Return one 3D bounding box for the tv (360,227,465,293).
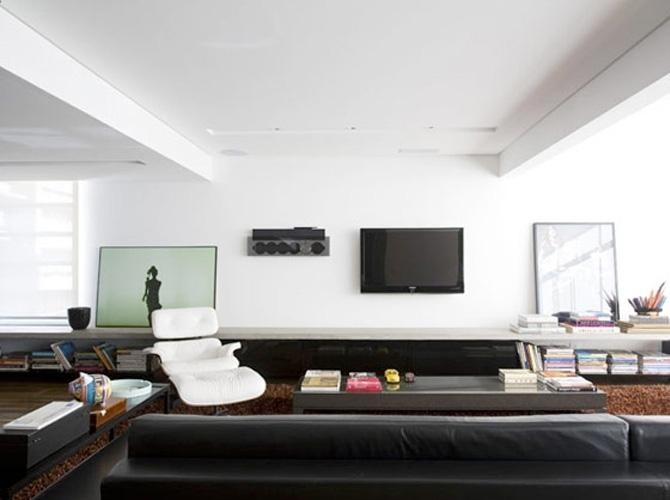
[{"bbox_3d":[0.887,0.117,6.157,1.174,0.737,0.144,-1,2,5],"label":"tv"}]

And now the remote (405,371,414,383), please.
[{"bbox_3d":[0.692,1.158,4.927,0.083,0.071,0.084,-1,-16,8],"label":"remote"}]

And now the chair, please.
[{"bbox_3d":[-1.283,1.030,5.070,0.943,0.862,1.337,3,-1,-36],"label":"chair"}]

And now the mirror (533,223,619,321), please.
[{"bbox_3d":[2.774,0.279,6.098,1.156,1.441,0.061,0,-3,-2],"label":"mirror"}]
